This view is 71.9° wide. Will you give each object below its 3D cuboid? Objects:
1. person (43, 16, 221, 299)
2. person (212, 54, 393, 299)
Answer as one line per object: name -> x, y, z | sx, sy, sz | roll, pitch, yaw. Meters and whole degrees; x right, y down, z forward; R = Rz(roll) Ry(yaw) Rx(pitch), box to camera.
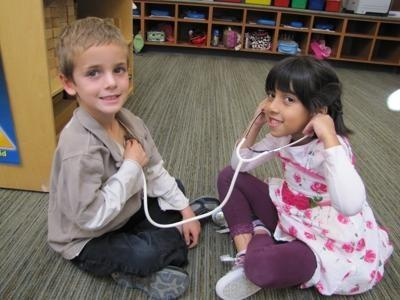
person -> -0.274, 0.029, 1.032 | 0.570, 0.855, 0.497 | 8, 31, 8
person -> 0.356, 0.044, 1.396 | 0.787, 1.073, 0.850 | 0, 13, 2
